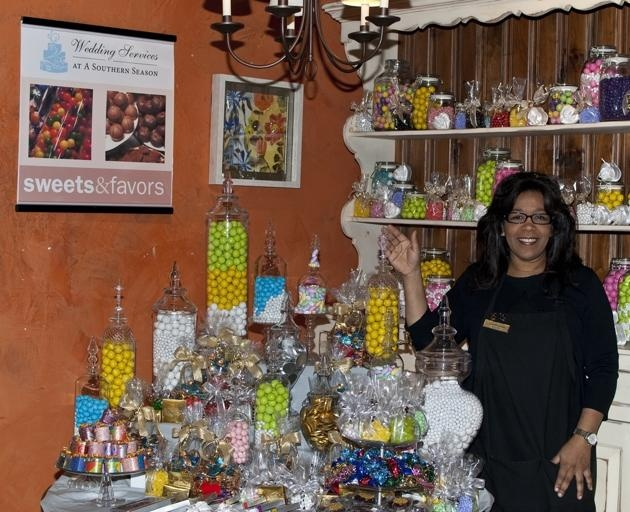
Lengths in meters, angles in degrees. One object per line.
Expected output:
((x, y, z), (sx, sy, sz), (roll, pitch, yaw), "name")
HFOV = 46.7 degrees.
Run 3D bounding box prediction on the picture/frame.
((-0.312, -0.652, 3.916), (0.533, 0.577, 0.056), (-1, 4, -40), "picture/frame")
